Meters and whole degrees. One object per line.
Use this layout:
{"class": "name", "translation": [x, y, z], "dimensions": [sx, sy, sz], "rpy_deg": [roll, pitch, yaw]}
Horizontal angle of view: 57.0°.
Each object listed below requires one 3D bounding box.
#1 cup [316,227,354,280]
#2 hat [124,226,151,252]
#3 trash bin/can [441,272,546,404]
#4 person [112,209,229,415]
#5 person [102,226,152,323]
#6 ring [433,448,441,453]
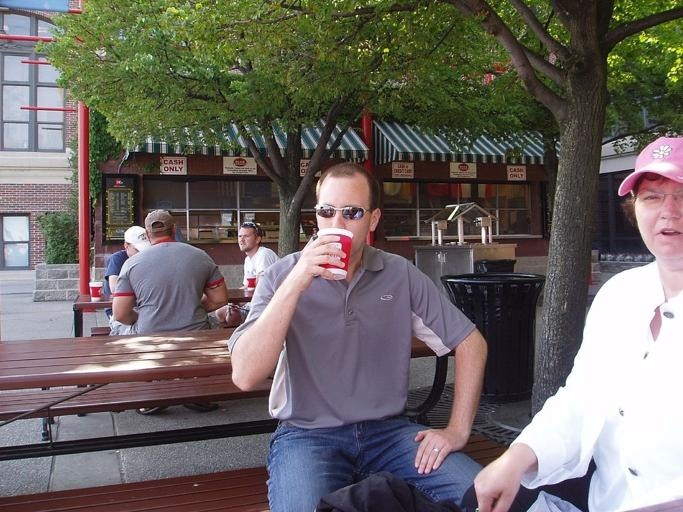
{"class": "cup", "translation": [-0.007, -0.010, 3.222], "dimensions": [0.214, 0.236, 0.228], "rpy_deg": [0, -14, 0]}
{"class": "hat", "translation": [-2.262, -0.187, 7.003], "dimensions": [0.228, 0.186, 0.364], "rpy_deg": [-10, 20, -41]}
{"class": "trash bin/can", "translation": [1.593, 0.820, 6.821], "dimensions": [1.125, 1.439, 1.246], "rpy_deg": [0, 5, 22]}
{"class": "person", "translation": [-1.698, 0.521, 6.170], "dimensions": [1.019, 1.891, 0.999], "rpy_deg": [-2, -9, -19]}
{"class": "person", "translation": [-2.610, 0.300, 7.872], "dimensions": [0.662, 1.245, 0.586], "rpy_deg": [6, 7, 42]}
{"class": "ring", "translation": [0.498, 1.020, 3.298], "dimensions": [0.021, 0.021, 0.005], "rpy_deg": [6, -6, 19]}
